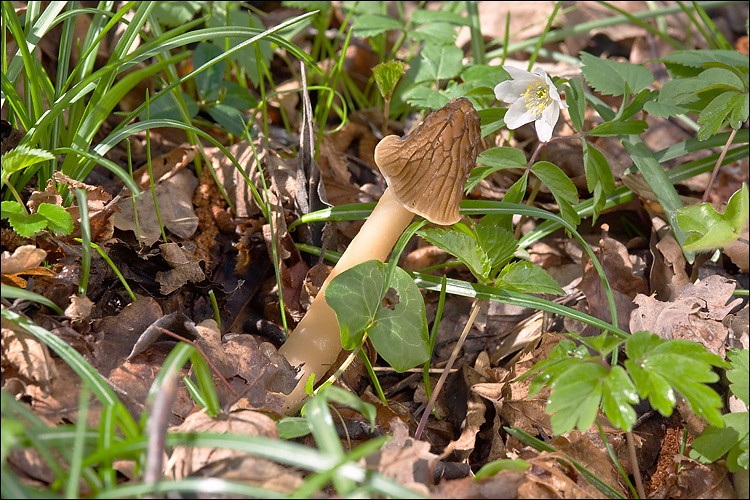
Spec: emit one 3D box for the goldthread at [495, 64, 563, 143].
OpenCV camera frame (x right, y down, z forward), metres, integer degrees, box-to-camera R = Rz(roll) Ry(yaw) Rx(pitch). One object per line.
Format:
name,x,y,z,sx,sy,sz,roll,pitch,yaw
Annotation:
goldthread,0.745,-0.721,3.081,0.331,0.234,0.188,35,60,19

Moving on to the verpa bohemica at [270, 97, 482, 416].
verpa bohemica,-0.199,-0.105,3.213,1.383,1.312,0.574,-15,22,-42
